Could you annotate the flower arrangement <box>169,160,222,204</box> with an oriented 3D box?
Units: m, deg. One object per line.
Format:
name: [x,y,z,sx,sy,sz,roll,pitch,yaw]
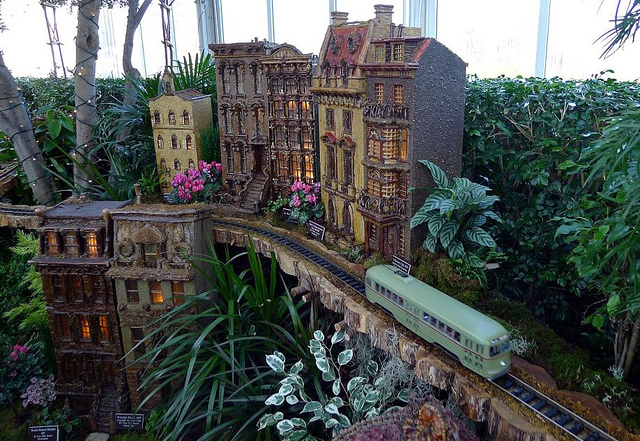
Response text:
flower arrangement: [-4.869,-1.518,17.365,1.994,1.539,0.737,-6,14,-21]

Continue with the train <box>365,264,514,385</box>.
train: [2.944,2.716,11.281,1.064,1.457,4.617,-23,37,-30]

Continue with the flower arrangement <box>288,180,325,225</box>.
flower arrangement: [-0.513,-0.627,15.924,1.302,1.415,0.748,-1,13,0]
